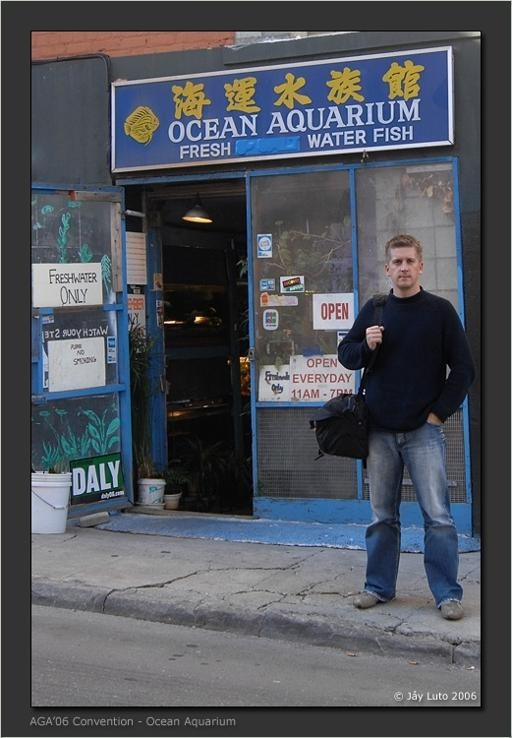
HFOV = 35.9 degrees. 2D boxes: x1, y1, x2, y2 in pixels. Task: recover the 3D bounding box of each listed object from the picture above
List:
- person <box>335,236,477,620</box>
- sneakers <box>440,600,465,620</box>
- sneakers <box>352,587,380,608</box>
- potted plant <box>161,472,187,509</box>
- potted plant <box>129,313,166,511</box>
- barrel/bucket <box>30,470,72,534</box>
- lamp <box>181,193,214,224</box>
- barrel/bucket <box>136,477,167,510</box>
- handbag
[{"bbox_3d":[0.883,0.323,4.441,0.653,2.114,0.245,0,3,29],"label":"person"},{"bbox_3d":[1.078,1.328,4.365,0.134,0.089,0.180,-1,3,14],"label":"sneakers"},{"bbox_3d":[0.633,1.336,4.569,0.065,0.080,0.184,-11,-14,28],"label":"sneakers"},{"bbox_3d":[-0.784,1.200,7.800,0.303,0.338,0.327,-7,-8,38],"label":"potted plant"},{"bbox_3d":[-1.102,0.392,7.872,0.288,1.772,0.628,-2,3,-9],"label":"potted plant"},{"bbox_3d":[-1.743,1.135,6.680,0.412,0.519,0.446,3,-2,0],"label":"barrel/bucket"},{"bbox_3d":[-0.654,-1.614,8.213,0.316,0.351,0.303,3,2,30],"label":"lamp"},{"bbox_3d":[-1.013,1.184,7.601,0.261,0.268,0.264,1,1,0],"label":"barrel/bucket"},{"bbox_3d":[0.512,0.225,4.715,0.317,0.560,0.419,3,10,-4],"label":"handbag"}]
